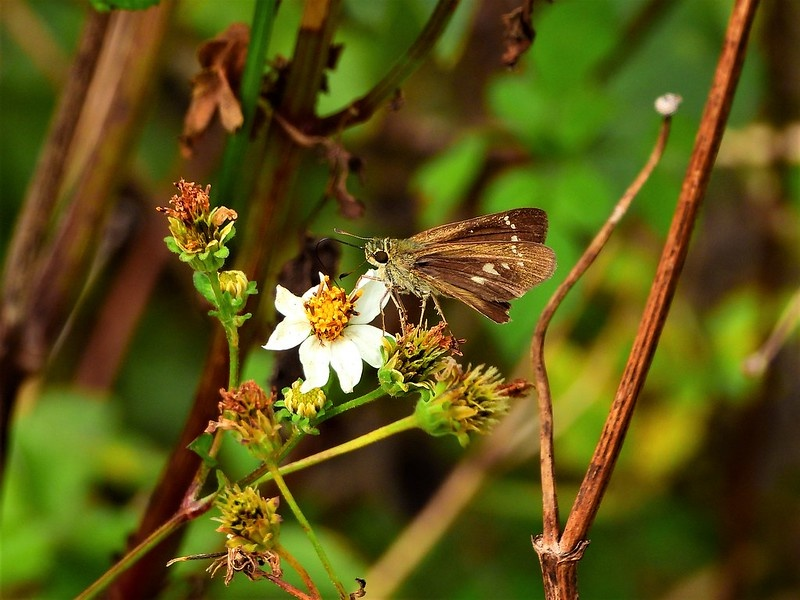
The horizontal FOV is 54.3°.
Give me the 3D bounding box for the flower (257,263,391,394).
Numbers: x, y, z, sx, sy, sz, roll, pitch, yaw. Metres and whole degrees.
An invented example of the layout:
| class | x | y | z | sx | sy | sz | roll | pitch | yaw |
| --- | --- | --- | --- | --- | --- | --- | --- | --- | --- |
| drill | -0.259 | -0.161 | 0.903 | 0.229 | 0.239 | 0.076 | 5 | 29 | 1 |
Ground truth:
| class | x | y | z | sx | sy | sz | roll | pitch | yaw |
| --- | --- | --- | --- | --- | --- | --- | --- | --- | --- |
| flower | -0.191 | 0.020 | 2.026 | 0.341 | 0.125 | 0.395 | -1 | 34 | 27 |
